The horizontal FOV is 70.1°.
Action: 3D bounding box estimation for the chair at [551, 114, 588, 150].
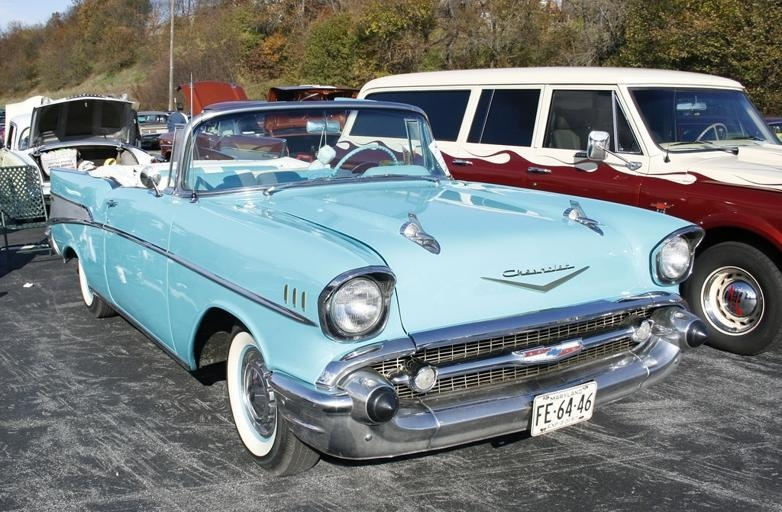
[{"bbox_3d":[1.971,-1.373,6.276,0.411,0.445,0.428,-8,16,-21],"label":"chair"}]
